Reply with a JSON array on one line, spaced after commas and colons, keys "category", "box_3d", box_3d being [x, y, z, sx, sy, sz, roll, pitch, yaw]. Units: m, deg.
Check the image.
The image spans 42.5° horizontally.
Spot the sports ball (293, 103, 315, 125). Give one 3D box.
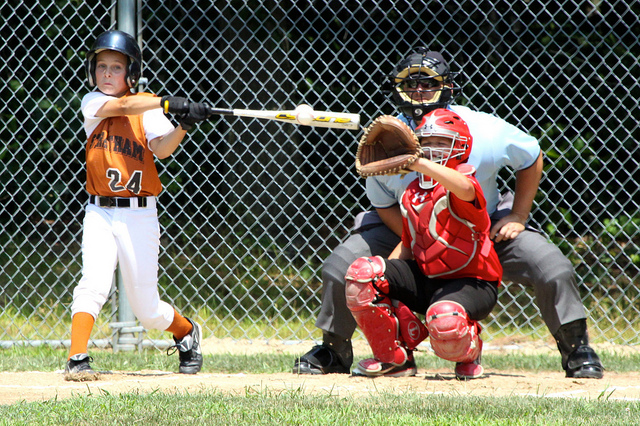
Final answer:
[{"category": "sports ball", "box_3d": [-0.115, -0.697, 5.864, 0.153, 0.165, 0.153, -3, -8, 0]}]

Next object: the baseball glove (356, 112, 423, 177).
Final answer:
[{"category": "baseball glove", "box_3d": [0.466, -0.434, 5.572, 0.445, 0.377, 0.233, -42, -26, 7]}]

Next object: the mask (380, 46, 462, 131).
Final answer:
[{"category": "mask", "box_3d": [0.770, -0.919, 6.165, 0.539, 0.551, 0.601, 0, 8, 17]}]

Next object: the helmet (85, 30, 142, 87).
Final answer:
[{"category": "helmet", "box_3d": [-1.552, -1.176, 6.139, 0.398, 0.479, 0.269, -2, -8, -6]}]

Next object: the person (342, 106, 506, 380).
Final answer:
[{"category": "person", "box_3d": [0.717, 0.237, 5.694, 1.037, 1.855, 0.760, -4, -8, 12]}]
